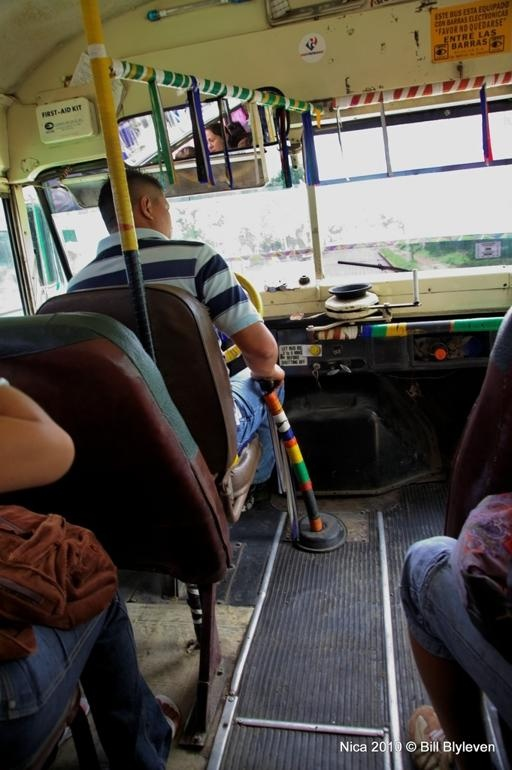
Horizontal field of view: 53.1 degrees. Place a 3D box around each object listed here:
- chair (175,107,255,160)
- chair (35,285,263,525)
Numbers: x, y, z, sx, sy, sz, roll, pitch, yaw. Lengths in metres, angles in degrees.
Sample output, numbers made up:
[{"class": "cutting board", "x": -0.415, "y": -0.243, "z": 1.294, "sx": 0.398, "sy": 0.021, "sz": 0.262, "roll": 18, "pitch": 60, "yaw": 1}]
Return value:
[{"class": "chair", "x": -0.174, "y": -1.255, "z": 2.553, "sx": 0.378, "sy": 0.151, "sz": 0.267, "roll": -16, "pitch": 4, "yaw": -36}, {"class": "chair", "x": -0.340, "y": -0.001, "z": 1.849, "sx": 0.567, "sy": 0.879, "sz": 0.745, "roll": -5, "pitch": 23, "yaw": 3}]
